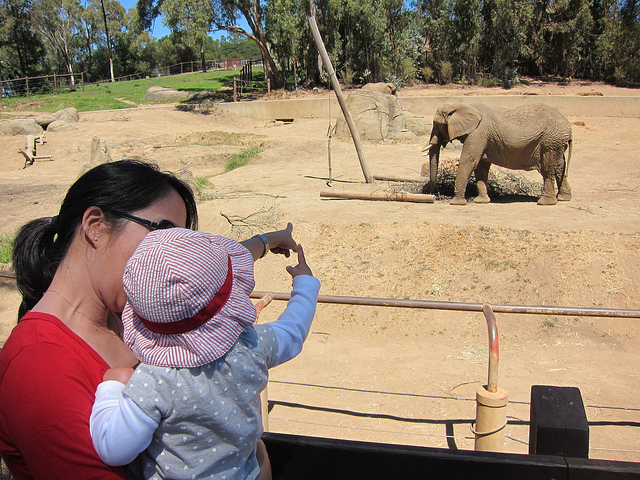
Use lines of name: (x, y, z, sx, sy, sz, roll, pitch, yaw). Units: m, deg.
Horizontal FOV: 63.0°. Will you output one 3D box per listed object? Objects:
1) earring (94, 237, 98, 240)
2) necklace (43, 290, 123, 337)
earring: (-0.776, -0.005, 1.802, 0.010, 0.012, 0.003, -2, 1, -4)
necklace: (-0.854, 0.276, 1.894, 0.234, 0.219, 0.109, -5, 8, -22)
